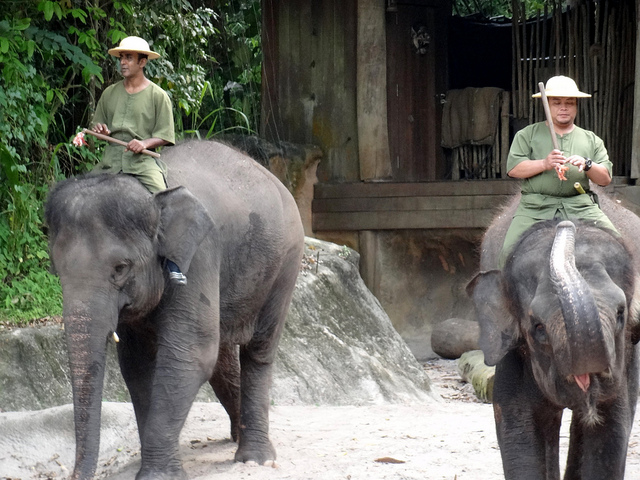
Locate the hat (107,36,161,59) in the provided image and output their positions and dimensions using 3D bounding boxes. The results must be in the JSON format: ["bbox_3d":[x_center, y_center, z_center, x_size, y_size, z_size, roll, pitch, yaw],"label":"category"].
[{"bbox_3d":[-1.058,-1.090,5.435,0.179,0.070,0.205,-3,3,-5],"label":"hat"}]

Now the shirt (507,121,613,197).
[{"bbox_3d":[1.226,-0.395,4.893,0.487,0.462,0.285,3,3,6],"label":"shirt"}]

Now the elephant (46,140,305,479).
[{"bbox_3d":[-0.779,0.419,5.429,0.804,1.933,1.888,0,7,25],"label":"elephant"}]

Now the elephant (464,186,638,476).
[{"bbox_3d":[1.076,0.549,4.370,0.803,1.448,1.044,-2,6,8],"label":"elephant"}]

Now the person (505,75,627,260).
[{"bbox_3d":[1.200,-0.310,4.744,0.527,1.085,0.536,1,-1,3],"label":"person"}]

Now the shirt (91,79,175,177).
[{"bbox_3d":[-1.086,-0.603,5.471,0.439,0.639,0.298,2,-7,6],"label":"shirt"}]
